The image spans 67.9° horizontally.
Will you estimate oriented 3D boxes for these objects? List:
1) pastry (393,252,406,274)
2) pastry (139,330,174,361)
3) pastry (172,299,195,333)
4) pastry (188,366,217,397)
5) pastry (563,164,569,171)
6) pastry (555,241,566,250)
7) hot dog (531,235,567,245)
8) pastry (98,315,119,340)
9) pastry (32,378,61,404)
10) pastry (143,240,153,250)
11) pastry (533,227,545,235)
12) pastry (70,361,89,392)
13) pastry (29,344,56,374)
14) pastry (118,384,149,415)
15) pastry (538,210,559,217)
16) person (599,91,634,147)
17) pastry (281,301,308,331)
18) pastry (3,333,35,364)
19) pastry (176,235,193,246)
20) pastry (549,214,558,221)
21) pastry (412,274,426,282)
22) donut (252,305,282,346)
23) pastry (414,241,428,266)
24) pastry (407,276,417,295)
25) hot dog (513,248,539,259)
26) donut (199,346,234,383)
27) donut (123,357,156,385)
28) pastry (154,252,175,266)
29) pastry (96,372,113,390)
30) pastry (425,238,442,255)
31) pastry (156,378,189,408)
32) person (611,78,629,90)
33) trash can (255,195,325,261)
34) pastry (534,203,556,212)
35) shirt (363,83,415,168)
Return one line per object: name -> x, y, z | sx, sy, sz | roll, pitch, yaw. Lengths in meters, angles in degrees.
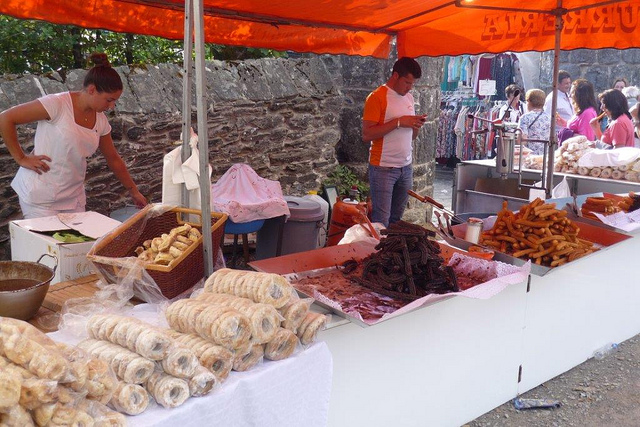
pastry -> 0.482, 0.293, 2.904 | 0.038, 0.036, 0.153 | -12, 56, -18
pastry -> -0.691, 0.522, 2.007 | 0.135, 0.138, 0.165 | -1, 22, -23
pastry -> -0.609, 0.472, 2.188 | 0.046, 0.117, 0.116 | 1, 44, -7
pastry -> -0.496, 0.715, 1.995 | 0.118, 0.129, 0.130 | -6, 12, -5
pastry -> 3.443, -0.652, 6.647 | 0.083, 0.088, 0.020 | 12, 19, 40
pastry -> 1.765, 0.233, 3.481 | 0.117, 0.034, 0.035 | -29, 66, -33
hot dog -> 1.697, 0.195, 3.521 | 0.270, 0.057, 0.050 | -2, 14, -8
pastry -> -0.924, 0.495, 2.060 | 0.051, 0.079, 0.088 | 6, 51, -5
pastry -> -0.952, 0.611, 1.664 | 0.082, 0.079, 0.029 | 38, -18, -30
pastry -> -1.042, 0.189, 2.845 | 0.042, 0.053, 0.019 | 3, -12, -8
pastry -> 1.648, 0.132, 3.586 | 0.032, 0.047, 0.089 | -9, 16, -30
pastry -> -0.881, 0.597, 1.739 | 0.030, 0.089, 0.092 | -2, -3, 42
pastry -> -0.970, 0.520, 1.682 | 0.080, 0.073, 0.023 | -7, -26, 36
pastry -> -0.729, 0.737, 1.880 | 0.113, 0.110, 0.040 | 20, -26, -37
pastry -> 1.763, -0.002, 3.656 | 0.159, 0.056, 0.026 | -4, 15, -14
person -> 4.241, -1.358, 6.781 | 0.467, 0.775, 0.561 | 7, 16, 26
pastry -> -0.120, 0.496, 2.303 | 0.046, 0.131, 0.151 | 13, 19, 42
pastry -> -1.051, 0.477, 1.672 | 0.094, 0.093, 0.056 | 3, 15, 14
pastry -> -0.780, 0.153, 2.736 | 0.078, 0.023, 0.047 | 23, 50, 27
pastry -> 1.794, 0.030, 3.649 | 0.023, 0.024, 0.078 | -31, 26, 18
pastry -> 0.608, 0.391, 2.917 | 0.066, 0.040, 0.016 | 1, -25, -30
donut -> -0.237, 0.515, 2.191 | 0.190, 0.190, 0.065 | -12, 19, -40
pastry -> 0.614, 0.250, 2.946 | 0.031, 0.089, 0.116 | 7, 46, -12
pastry -> 0.553, 0.433, 2.843 | 0.045, 0.087, 0.084 | -3, 14, -9
hot dog -> 1.524, 0.295, 3.502 | 0.160, 0.036, 0.040 | -11, -15, -5
donut -> -0.427, 0.651, 2.050 | 0.151, 0.152, 0.056 | 27, 1, -30
donut -> -0.759, 0.633, 1.978 | 0.111, 0.112, 0.132 | 7, 9, -41
pastry -> -0.873, 0.251, 2.665 | 0.107, 0.046, 0.107 | 4, 14, 15
pastry -> -0.816, 0.642, 1.814 | 0.055, 0.052, 0.022 | 13, -23, -24
pastry -> 0.716, 0.214, 3.037 | 0.075, 0.124, 0.155 | 8, 16, 30
pastry -> -0.595, 0.727, 1.947 | 0.122, 0.114, 0.047 | -20, 16, -29
person -> 6.407, -2.771, 10.075 | 0.260, 0.251, 1.691 | 8, 16, 31
trash can -> -0.330, 0.197, 5.399 | 0.800, 0.733, 0.405 | -2, 15, -5
pastry -> 1.747, -0.053, 3.706 | 0.210, 0.051, 0.080 | -8, 16, -29
shirt -> 0.764, -0.968, 5.217 | 0.574, 0.906, 0.331 | -1, 15, -1
